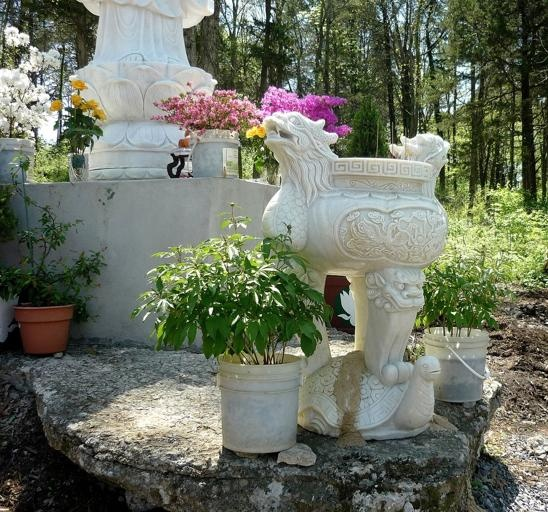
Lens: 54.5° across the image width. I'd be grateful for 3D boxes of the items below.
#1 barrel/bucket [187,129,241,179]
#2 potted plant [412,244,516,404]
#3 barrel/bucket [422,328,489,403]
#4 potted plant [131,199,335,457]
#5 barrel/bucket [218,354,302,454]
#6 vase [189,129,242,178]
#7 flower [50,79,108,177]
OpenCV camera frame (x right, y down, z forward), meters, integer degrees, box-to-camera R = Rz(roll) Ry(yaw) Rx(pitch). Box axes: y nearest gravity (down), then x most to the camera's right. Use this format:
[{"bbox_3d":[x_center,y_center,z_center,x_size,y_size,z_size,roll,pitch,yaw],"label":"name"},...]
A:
[{"bbox_3d":[-0.454,-0.723,4.125,0.363,0.388,0.364,-2,-14,-1],"label":"barrel/bucket"},{"bbox_3d":[1.020,0.394,2.946,0.404,0.779,0.377,0,0,-15],"label":"potted plant"},{"bbox_3d":[1.016,0.578,2.928,0.328,0.362,0.341,0,6,0],"label":"barrel/bucket"},{"bbox_3d":[-0.141,0.289,2.306,0.803,1.021,0.719,-2,5,-25],"label":"potted plant"},{"bbox_3d":[-0.056,0.571,2.206,0.339,0.365,0.346,0,-3,0],"label":"barrel/bucket"},{"bbox_3d":[-0.450,-0.777,4.137,0.364,0.396,0.377,-1,-1,-27],"label":"vase"},{"bbox_3d":[-1.596,-1.012,4.359,0.398,0.780,0.394,5,8,44],"label":"flower"}]
